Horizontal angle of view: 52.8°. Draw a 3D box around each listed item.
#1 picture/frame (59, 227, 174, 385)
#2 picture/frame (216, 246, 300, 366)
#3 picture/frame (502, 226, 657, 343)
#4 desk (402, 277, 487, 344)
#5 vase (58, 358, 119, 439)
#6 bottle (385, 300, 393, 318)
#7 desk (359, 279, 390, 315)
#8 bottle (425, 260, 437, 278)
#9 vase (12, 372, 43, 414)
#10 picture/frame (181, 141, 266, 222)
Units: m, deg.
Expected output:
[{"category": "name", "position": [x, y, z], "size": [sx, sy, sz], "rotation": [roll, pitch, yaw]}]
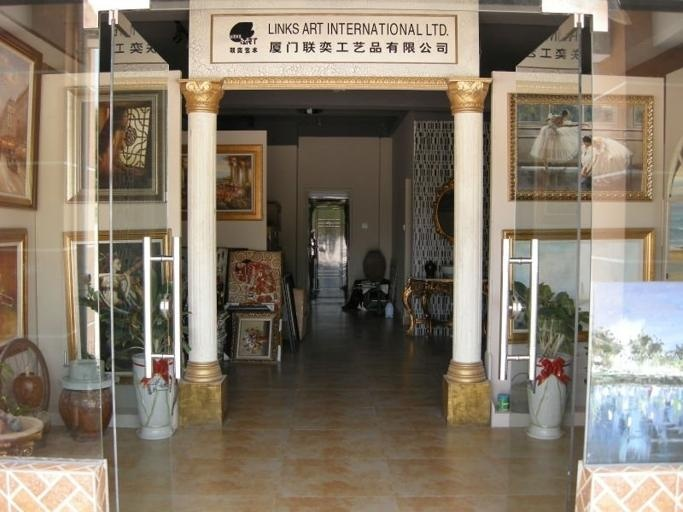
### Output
[{"category": "picture/frame", "position": [-0.956, 0.209, 2.868], "size": [0.032, 0.803, 0.669], "rotation": [2, 3, 31]}, {"category": "picture/frame", "position": [-0.901, 0.497, 7.028], "size": [0.591, 1.071, 0.600], "rotation": [-1, 5, -10]}, {"category": "picture/frame", "position": [1.004, 0.124, 2.827], "size": [0.480, 0.427, 0.042], "rotation": [0, 1, 10]}, {"category": "desk", "position": [1.325, 0.554, 8.649], "size": [1.110, 0.918, 1.050], "rotation": [5, 14, 19]}, {"category": "vase", "position": [-1.046, 0.588, 2.852], "size": [0.236, 0.313, 0.234], "rotation": [6, 8, 31]}, {"category": "bottle", "position": [0.713, 0.801, 10.233], "size": [0.178, 0.294, 0.175], "rotation": [1, -8, 0]}, {"category": "desk", "position": [0.533, 0.652, 11.080], "size": [0.451, 0.614, 0.470], "rotation": [0, -5, 11]}, {"category": "bottle", "position": [1.142, 0.173, 8.657], "size": [0.165, 0.286, 0.204], "rotation": [-1, -1, 25]}, {"category": "vase", "position": [-1.244, 0.536, 2.777], "size": [0.136, 0.177, 0.141], "rotation": [-1, 4, -16]}, {"category": "picture/frame", "position": [-1.090, -0.710, 6.350], "size": [0.897, 0.931, 0.063], "rotation": [0, -1, -6]}]
